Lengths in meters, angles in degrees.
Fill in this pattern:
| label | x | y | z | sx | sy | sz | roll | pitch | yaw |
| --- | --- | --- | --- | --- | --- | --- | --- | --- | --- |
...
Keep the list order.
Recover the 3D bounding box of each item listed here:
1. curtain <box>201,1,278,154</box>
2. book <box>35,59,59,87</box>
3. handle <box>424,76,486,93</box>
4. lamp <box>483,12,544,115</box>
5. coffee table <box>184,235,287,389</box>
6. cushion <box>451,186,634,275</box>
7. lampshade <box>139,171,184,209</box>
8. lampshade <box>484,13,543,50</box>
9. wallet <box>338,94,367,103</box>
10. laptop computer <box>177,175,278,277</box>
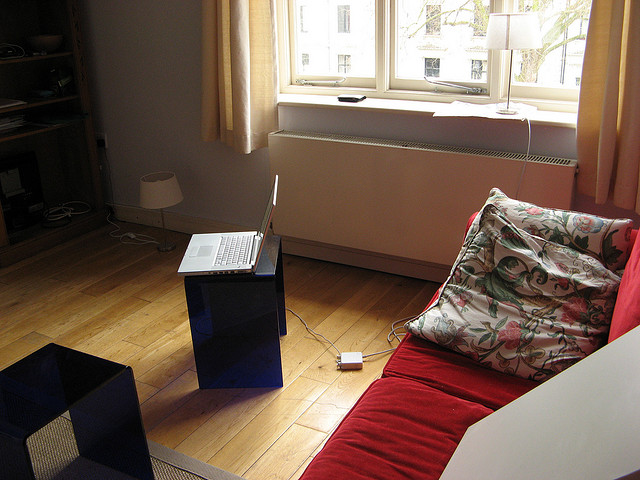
| label | x | y | z | sx | sy | sz | roll | pitch | yaw |
| --- | --- | --- | --- | --- | --- | --- | --- | --- | --- |
| curtain | -0.542 | -1.015 | 3.037 | 0.502 | 0.919 | 0.290 | 12 | 25 | 26 |
| book | -2.001 | -1.246 | 3.534 | 0.193 | 0.178 | 0.105 | 15 | 27 | 32 |
| handle | 0.827 | -0.934 | 2.849 | 0.288 | 0.054 | 0.046 | 19 | 26 | 21 |
| lamp | 0.939 | -0.945 | 2.322 | 0.216 | 0.359 | 0.227 | 13 | 34 | 27 |
| coffee table | -0.350 | 0.395 | 2.502 | 0.528 | 0.782 | 0.785 | -1 | 24 | 4 |
| cushion | 0.918 | -0.042 | 1.716 | 0.392 | 0.123 | 0.402 | 12 | 57 | 25 |
| lampshade | -1.115 | -0.356 | 3.354 | 0.179 | 0.225 | 0.179 | 16 | 37 | 22 |
| lampshade | 0.943 | -1.007 | 2.294 | 0.201 | 0.134 | 0.205 | 6 | 29 | 21 |
| wallet | 0.189 | -0.902 | 3.016 | 0.190 | 0.034 | 0.164 | 8 | 24 | 17 |
| laptop computer | -0.398 | -0.026 | 2.121 | 0.414 | 0.312 | 0.394 | 1 | 6 | -8 |
